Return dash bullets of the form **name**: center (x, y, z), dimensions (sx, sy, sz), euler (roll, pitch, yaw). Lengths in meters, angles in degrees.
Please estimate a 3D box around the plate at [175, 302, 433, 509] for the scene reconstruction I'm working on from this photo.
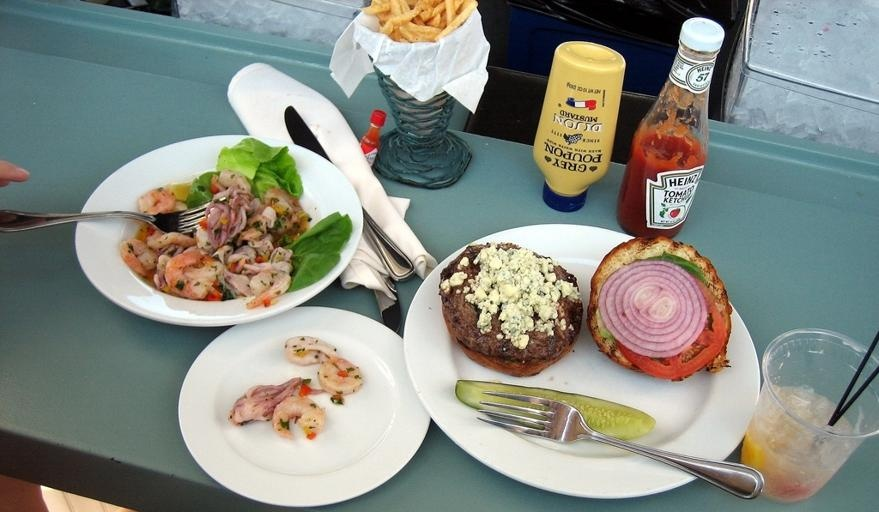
- **plate**: center (-0.419, 0.445, 1.815), dimensions (0.693, 0.068, 0.618), euler (-18, 68, -8)
